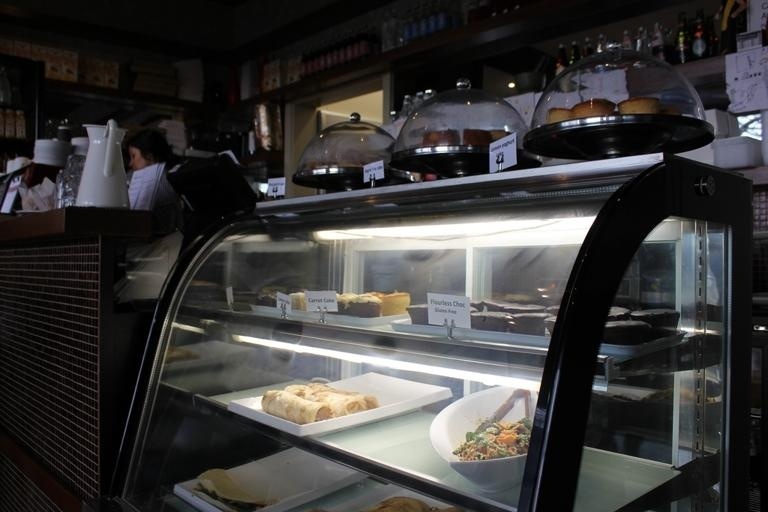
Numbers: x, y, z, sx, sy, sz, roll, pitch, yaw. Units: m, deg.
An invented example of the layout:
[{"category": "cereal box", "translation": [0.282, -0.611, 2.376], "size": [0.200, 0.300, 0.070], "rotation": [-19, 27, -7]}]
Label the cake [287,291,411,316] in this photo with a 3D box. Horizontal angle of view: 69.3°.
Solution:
[{"category": "cake", "translation": [-0.083, 0.113, 1.482], "size": [0.250, 0.076, 0.231], "rotation": [-3, 5, -44]}]

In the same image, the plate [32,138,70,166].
[{"category": "plate", "translation": [-1.600, -0.488, 2.687], "size": [0.148, 0.098, 0.140], "rotation": [2, 1, -10]}]

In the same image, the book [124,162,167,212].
[{"category": "book", "translation": [-0.847, -0.242, 1.986], "size": [0.157, 0.202, 0.136], "rotation": [10, 5, 42]}]

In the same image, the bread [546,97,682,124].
[{"category": "bread", "translation": [0.550, -0.364, 1.385], "size": [0.321, 0.059, 0.150], "rotation": [1, 5, 26]}]

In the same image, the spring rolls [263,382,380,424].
[{"category": "spring rolls", "translation": [-0.180, 0.381, 1.540], "size": [0.255, 0.100, 0.297], "rotation": [-1, 3, -40]}]

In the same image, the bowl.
[{"category": "bowl", "translation": [0.219, 0.397, 1.269], "size": [0.213, 0.205, 0.246], "rotation": [3, -2, -9]}]
